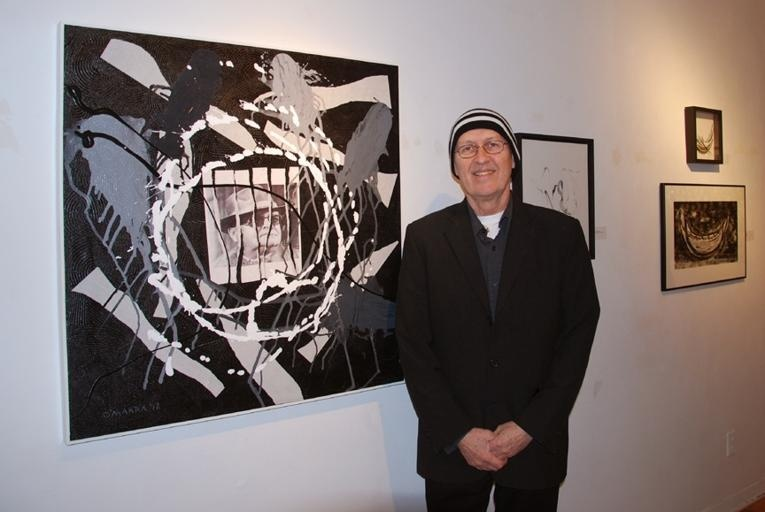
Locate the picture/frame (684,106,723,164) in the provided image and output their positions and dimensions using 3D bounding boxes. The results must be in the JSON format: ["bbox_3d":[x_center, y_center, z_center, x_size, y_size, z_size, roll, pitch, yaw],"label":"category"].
[{"bbox_3d":[2.122,-0.809,4.255,0.367,0.368,0.046,2,-6,-41],"label":"picture/frame"}]

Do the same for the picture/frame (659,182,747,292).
[{"bbox_3d":[2.096,-0.141,4.237,0.686,0.556,0.025,-1,-1,-37],"label":"picture/frame"}]

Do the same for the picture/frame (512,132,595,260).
[{"bbox_3d":[0.914,-0.346,3.492,0.673,0.853,0.055,2,-4,-37],"label":"picture/frame"}]
